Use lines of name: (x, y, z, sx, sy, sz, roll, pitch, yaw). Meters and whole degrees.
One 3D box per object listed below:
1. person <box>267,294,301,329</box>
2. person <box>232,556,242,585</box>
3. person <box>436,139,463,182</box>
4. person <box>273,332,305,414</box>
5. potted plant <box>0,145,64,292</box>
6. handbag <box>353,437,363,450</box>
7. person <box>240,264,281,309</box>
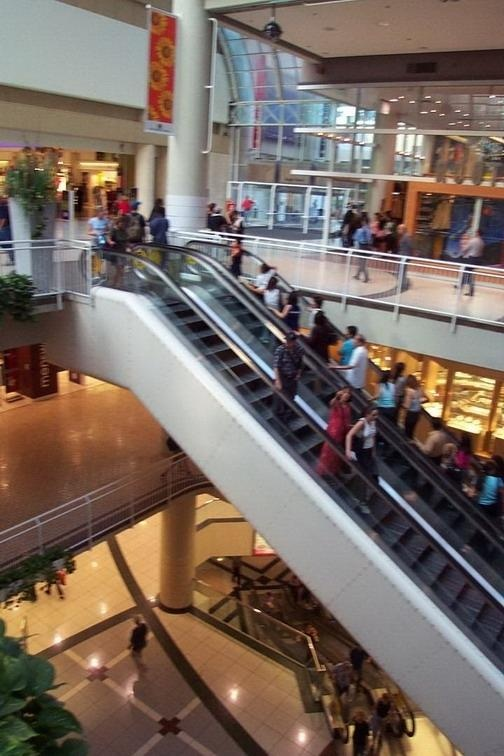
person: (0.499, -0.961, 7.900, 0.375, 0.544, 0.967, 8, 10, 2)
person: (-0.433, 5.517, 15.971, 0.325, 0.434, 0.957, 8, 10, 1)
person: (4.001, -4.400, 11.185, 0.555, 0.753, 0.339, 10, 10, 14)
person: (0.376, -0.035, 6.056, 0.303, 0.888, 0.538, 8, 10, 2)
potted plant: (-3.084, -2.204, 7.708, 0.726, 1.935, 1.138, 3, 11, -24)
handbag: (1.072, 0.656, 5.625, 0.120, 0.118, 0.096, -6, 8, -11)
person: (0.238, -1.391, 8.301, 0.438, 0.645, 1.067, 7, 10, -5)
